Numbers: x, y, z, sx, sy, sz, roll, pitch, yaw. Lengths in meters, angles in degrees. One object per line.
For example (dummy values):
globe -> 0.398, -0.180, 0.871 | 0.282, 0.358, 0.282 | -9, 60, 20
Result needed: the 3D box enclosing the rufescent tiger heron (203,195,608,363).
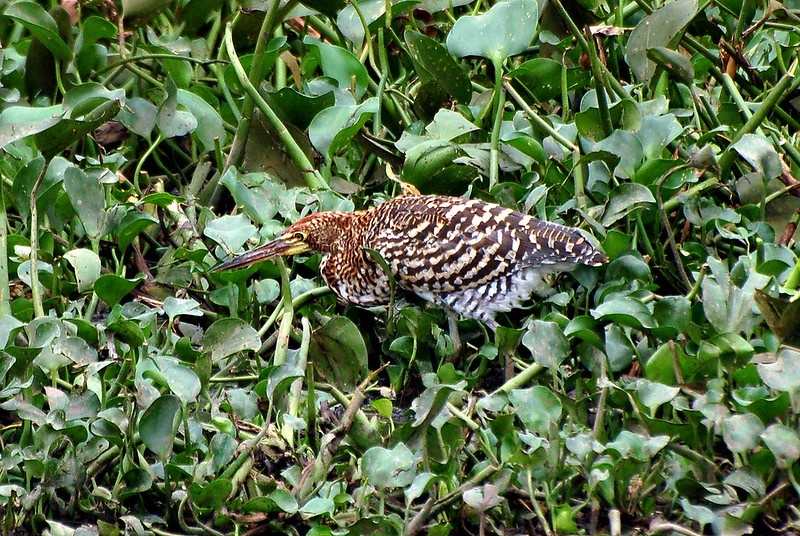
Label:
rufescent tiger heron -> 0.207, 0.009, 4.728 | 2.102, 0.647, 0.968 | -6, 95, 20
